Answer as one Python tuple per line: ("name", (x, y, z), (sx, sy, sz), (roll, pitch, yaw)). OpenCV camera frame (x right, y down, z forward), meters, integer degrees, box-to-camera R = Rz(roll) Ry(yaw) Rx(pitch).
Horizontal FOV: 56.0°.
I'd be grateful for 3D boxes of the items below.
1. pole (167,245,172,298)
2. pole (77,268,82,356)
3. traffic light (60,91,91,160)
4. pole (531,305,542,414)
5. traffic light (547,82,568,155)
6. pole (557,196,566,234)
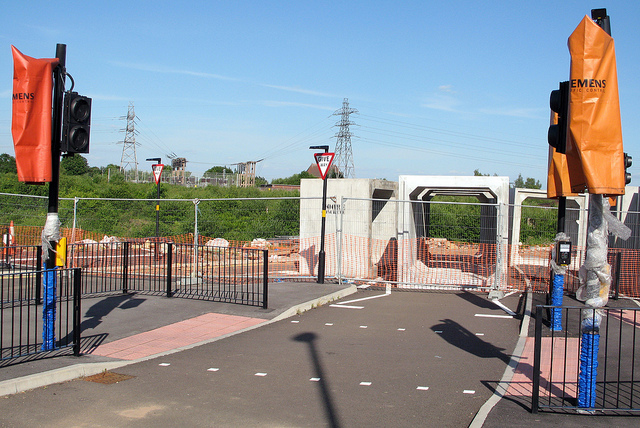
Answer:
("pole", (-4.211, 1.583, 16.883), (0.103, 1.553, 0.429), (-1, 7, -21))
("pole", (-4.852, 1.913, 12.118), (0.089, 1.778, 0.504), (-2, 7, -22))
("traffic light", (-4.984, -1.829, 12.250), (0.589, 1.312, 0.357), (-2, 8, -26))
("pole", (3.853, 2.510, 10.623), (0.143, 1.856, 0.484), (4, 7, 21))
("traffic light", (4.304, -1.742, 10.869), (0.281, 1.251, 0.370), (3, 7, 16))
("pole", (5.835, -0.004, 14.486), (0.139, 0.833, 0.741), (4, 8, 20))
